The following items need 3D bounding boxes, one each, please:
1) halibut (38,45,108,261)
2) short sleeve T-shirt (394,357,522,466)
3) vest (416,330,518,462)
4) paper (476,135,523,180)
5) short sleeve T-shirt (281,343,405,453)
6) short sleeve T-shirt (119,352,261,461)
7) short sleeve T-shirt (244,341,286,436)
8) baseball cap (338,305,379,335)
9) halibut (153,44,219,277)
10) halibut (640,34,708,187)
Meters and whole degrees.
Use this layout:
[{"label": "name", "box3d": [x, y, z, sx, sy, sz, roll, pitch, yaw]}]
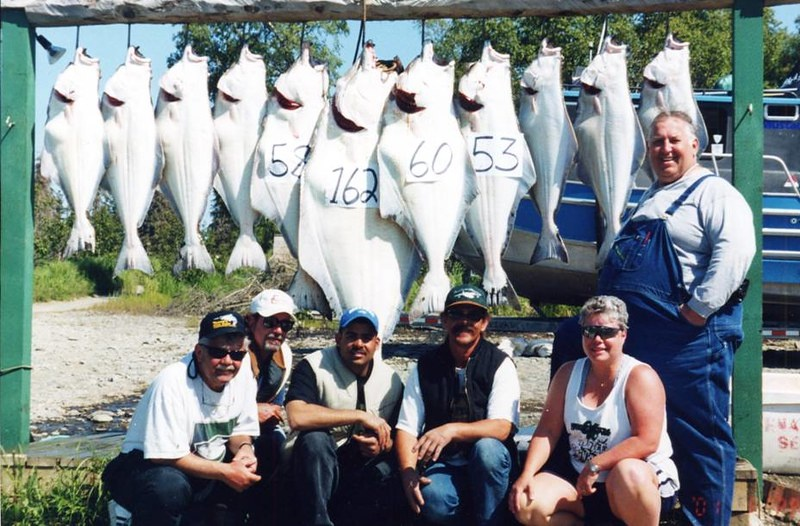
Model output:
[{"label": "halibut", "box3d": [-2.800, -0.954, 8.892, 0.549, 1.740, 0.259, -2, 1, -13]}, {"label": "short sleeve T-shirt", "box3d": [0.469, 1.054, 8.078, 0.913, 0.951, 0.565, 0, -12, 19]}, {"label": "vest", "box3d": [0.460, 1.017, 8.383, 1.011, 1.419, 0.736, 0, -12, 2]}, {"label": "paper", "box3d": [0.815, -0.890, 8.660, 0.411, 0.273, 0.028, -2, 1, 3]}, {"label": "short sleeve T-shirt", "box3d": [-0.449, 1.086, 8.097, 0.601, 0.542, 0.328, 24, -10, -6]}, {"label": "short sleeve T-shirt", "box3d": [-1.619, 1.161, 8.136, 0.680, 0.590, 0.379, 31, -6, -42]}, {"label": "short sleeve T-shirt", "box3d": [-1.048, 0.994, 8.442, 0.242, 0.747, 0.236, 4, -20, 16]}, {"label": "baseball cap", "box3d": [-0.318, 0.444, 8.170, 0.248, 0.202, 0.419, 4, 1, -3]}, {"label": "halibut", "box3d": [-1.822, -0.893, 8.863, 0.502, 1.790, 0.288, -2, 1, -9]}, {"label": "halibut", "box3d": [2.250, -1.348, 8.560, 0.435, 1.473, 0.576, -1, -1, 2]}]
